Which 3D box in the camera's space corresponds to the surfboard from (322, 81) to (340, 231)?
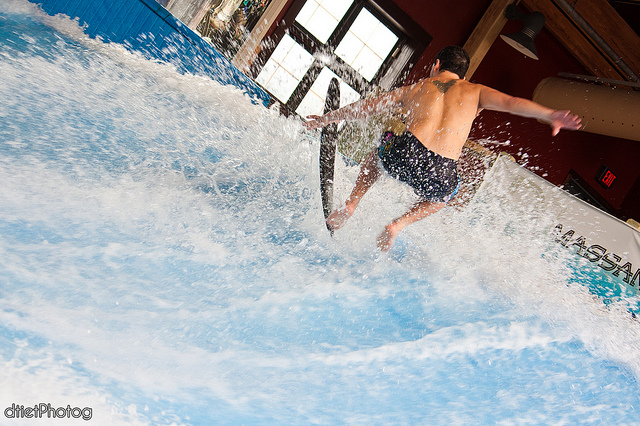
[{"bbox_3d":[0.127,-0.570,4.347,0.180,1.476,0.130,4,-5,-21],"label":"surfboard"}]
